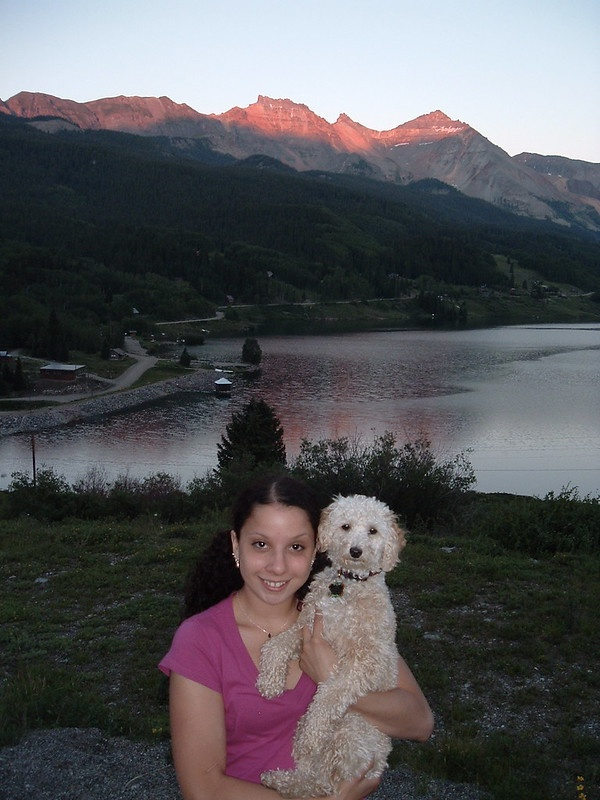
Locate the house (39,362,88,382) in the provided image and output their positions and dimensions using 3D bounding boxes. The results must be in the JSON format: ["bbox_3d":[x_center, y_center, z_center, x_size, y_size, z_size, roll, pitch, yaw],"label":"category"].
[{"bbox_3d":[-22.958,-2.672,72.196,3.370,1.788,2.718,11,0,29],"label":"house"}]

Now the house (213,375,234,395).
[{"bbox_3d":[-7.336,-1.377,70.278,1.834,1.552,1.786,6,17,9],"label":"house"}]

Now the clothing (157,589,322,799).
[{"bbox_3d":[-0.145,1.302,3.412,0.880,0.824,0.341,1,4,-6],"label":"clothing"}]
